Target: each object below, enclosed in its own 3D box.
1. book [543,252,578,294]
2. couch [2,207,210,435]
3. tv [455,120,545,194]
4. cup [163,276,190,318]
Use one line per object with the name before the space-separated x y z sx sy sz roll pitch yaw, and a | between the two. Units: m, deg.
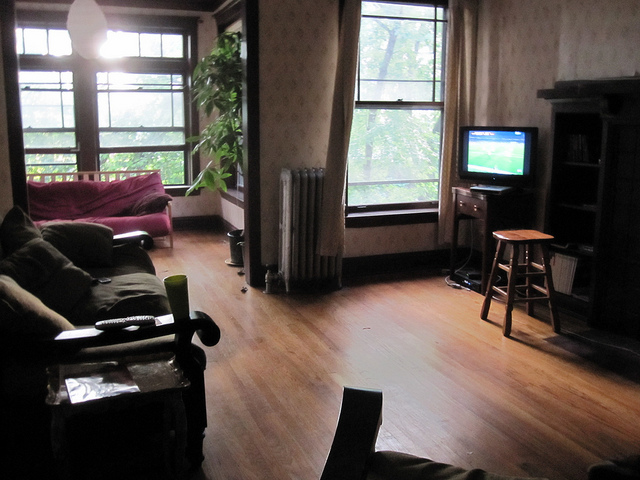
book | 2.014 0.283 4.248 0.105 0.285 0.324 9 -6 43
couch | -1.112 0.409 2.567 0.580 0.572 1.271 0 16 -23
tv | 1.687 -0.749 4.616 0.765 0.674 0.452 11 22 37
cup | -0.651 0.252 2.245 0.100 0.184 0.089 -2 13 -3
